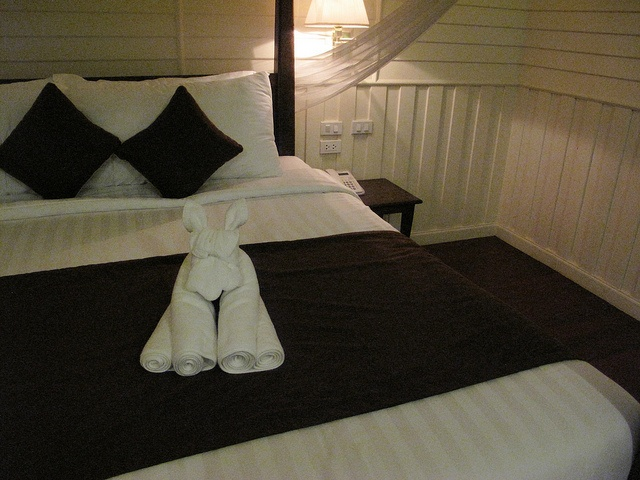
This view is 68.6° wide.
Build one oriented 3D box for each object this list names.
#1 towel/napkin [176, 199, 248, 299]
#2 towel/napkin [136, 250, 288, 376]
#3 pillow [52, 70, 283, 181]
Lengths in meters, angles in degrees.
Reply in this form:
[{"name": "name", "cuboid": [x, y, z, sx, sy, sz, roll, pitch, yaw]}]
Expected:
[{"name": "towel/napkin", "cuboid": [-0.331, -0.005, 1.294, 0.064, 0.239, 0.191, -28, -16, 29]}, {"name": "towel/napkin", "cuboid": [-0.303, 0.195, 1.237, 0.348, 0.280, 0.285, -7, 13, -20]}, {"name": "pillow", "cuboid": [-0.784, -0.498, 2.684, 1.096, 0.558, 0.291, -2, -3, -21]}]
